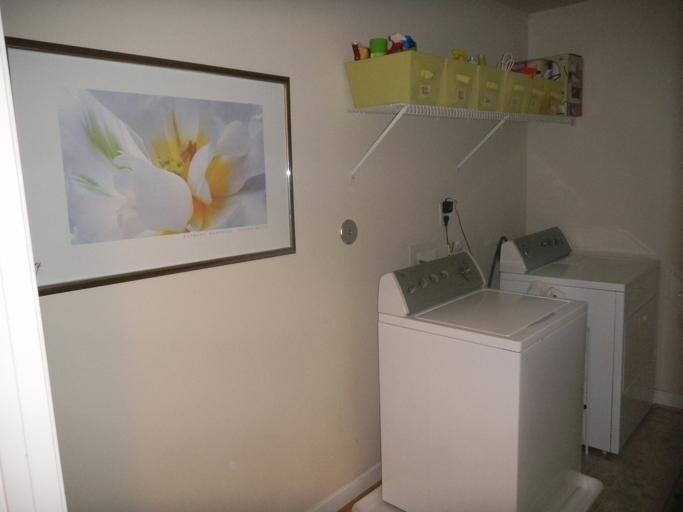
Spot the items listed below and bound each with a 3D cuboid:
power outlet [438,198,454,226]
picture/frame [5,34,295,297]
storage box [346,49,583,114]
[{"bbox_3d":[0.653,-0.275,3.175,0.028,0.160,0.167,5,14,37],"label":"power outlet"},{"bbox_3d":[-0.735,-0.352,1.941,0.018,0.781,0.988,8,11,43],"label":"picture/frame"},{"bbox_3d":[0.737,-0.941,2.843,1.558,0.365,0.342,-12,14,-35],"label":"storage box"}]
